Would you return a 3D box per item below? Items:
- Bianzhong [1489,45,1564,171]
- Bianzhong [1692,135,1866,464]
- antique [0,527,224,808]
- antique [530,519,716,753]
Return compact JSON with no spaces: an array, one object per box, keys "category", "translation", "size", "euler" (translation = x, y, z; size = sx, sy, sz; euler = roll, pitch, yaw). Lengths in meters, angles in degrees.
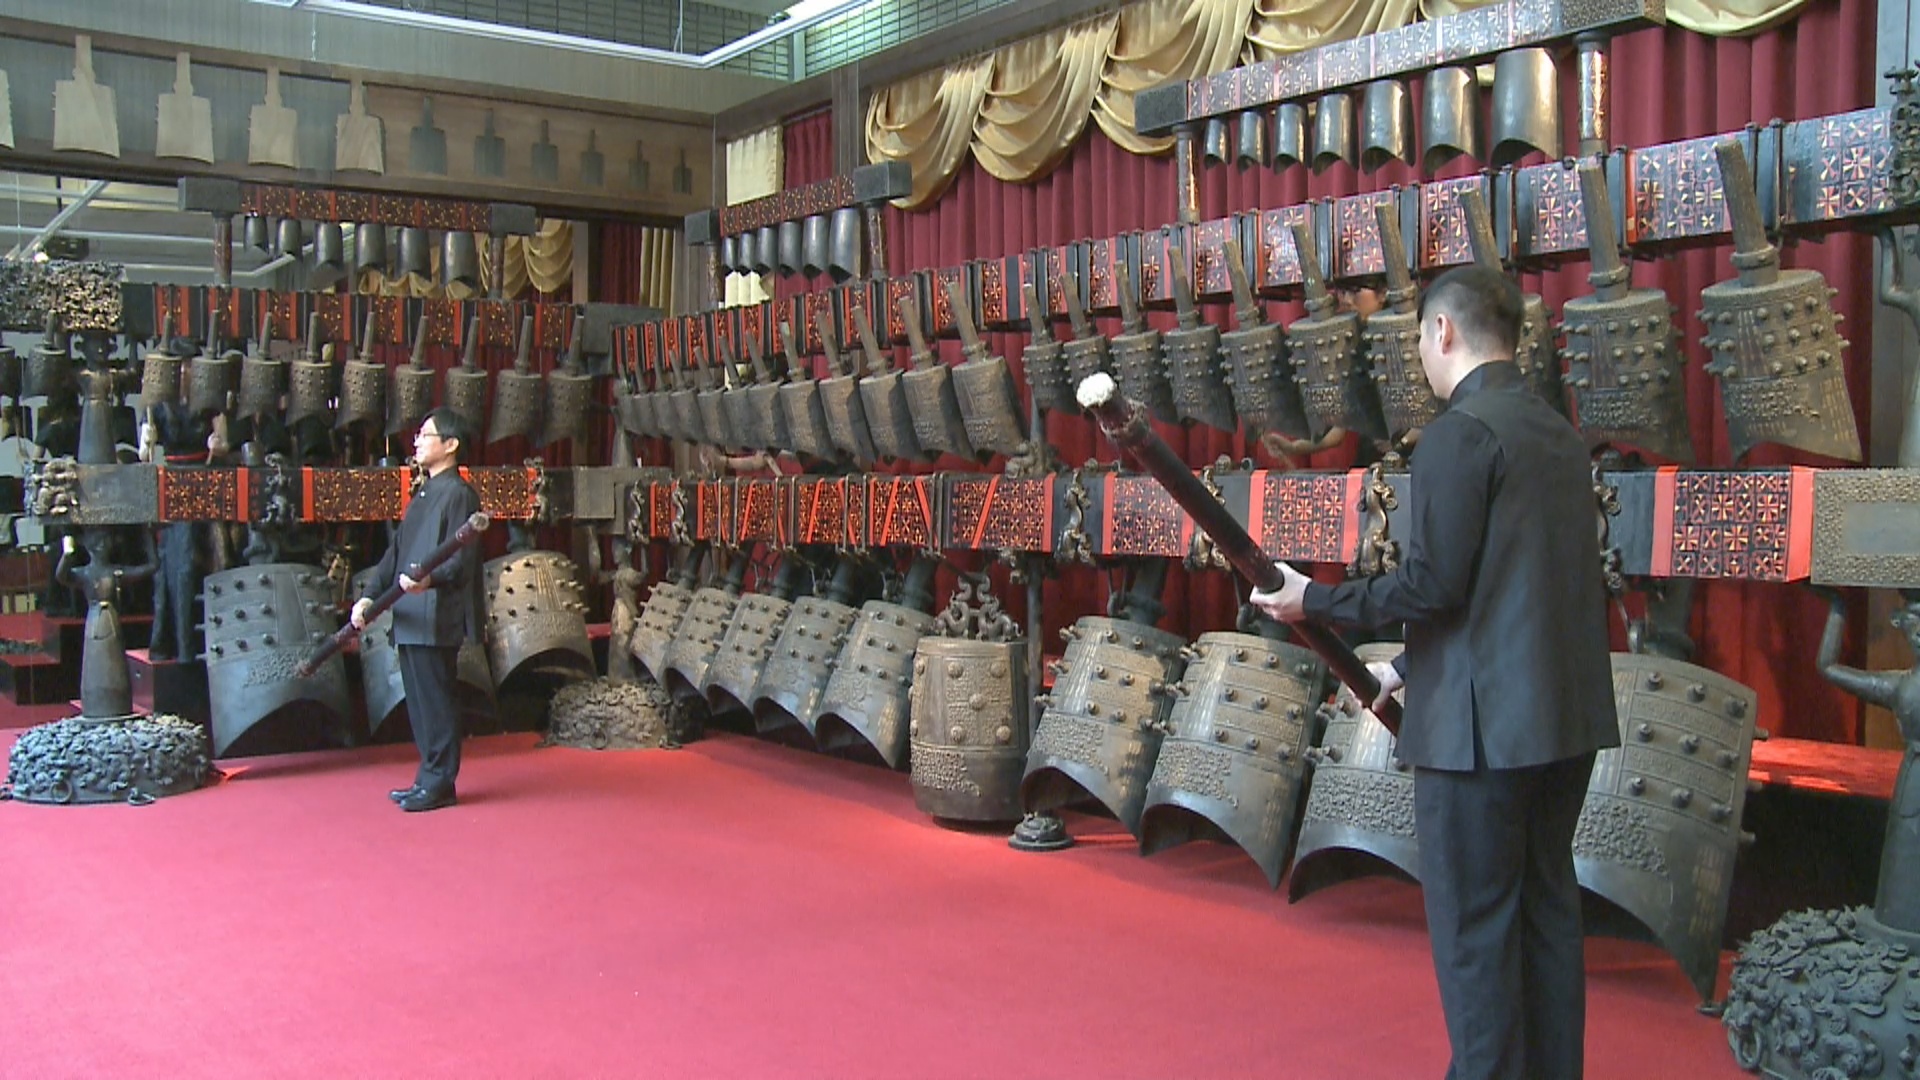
[{"category":"Bianzhong","translation":[2.476,-1.914,6.494],"size":[0.271,0.481,0.136],"euler":[0,3,23]},{"category":"Bianzhong","translation":[3.317,-0.978,5.995],"size":[0.579,1.298,0.208],"euler":[-1,2,7]},{"category":"antique","translation":[-4.877,0.805,8.641],"size":[1.187,1.491,1.323],"euler":[-1,0,-42]},{"category":"antique","translation":[-1.886,0.702,9.652],"size":[1.199,1.425,1.095],"euler":[0,-6,18]}]
